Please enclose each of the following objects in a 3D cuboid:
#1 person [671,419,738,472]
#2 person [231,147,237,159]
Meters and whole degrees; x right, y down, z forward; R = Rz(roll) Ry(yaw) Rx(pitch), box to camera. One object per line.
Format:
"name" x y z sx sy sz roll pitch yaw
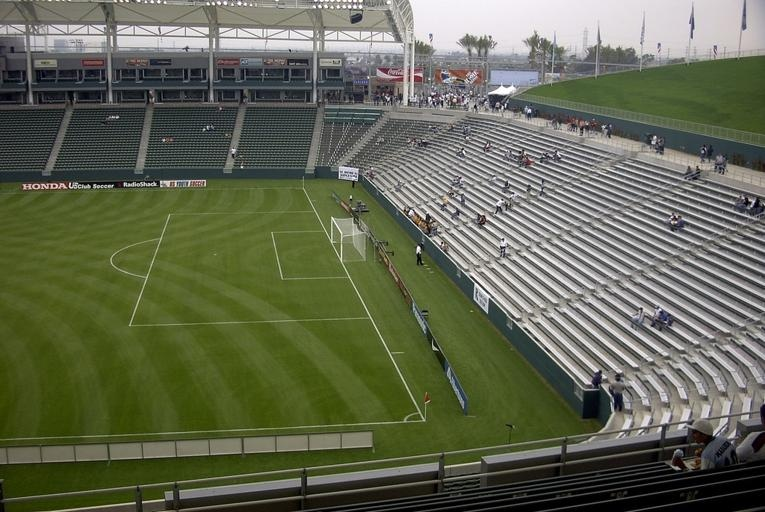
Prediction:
"person" 7.307 4.457 14.084 1.417 1.258 1.021 -9 -2 41
"person" -16.966 -12.001 70.577 0.674 1.024 1.475 0 17 -12
